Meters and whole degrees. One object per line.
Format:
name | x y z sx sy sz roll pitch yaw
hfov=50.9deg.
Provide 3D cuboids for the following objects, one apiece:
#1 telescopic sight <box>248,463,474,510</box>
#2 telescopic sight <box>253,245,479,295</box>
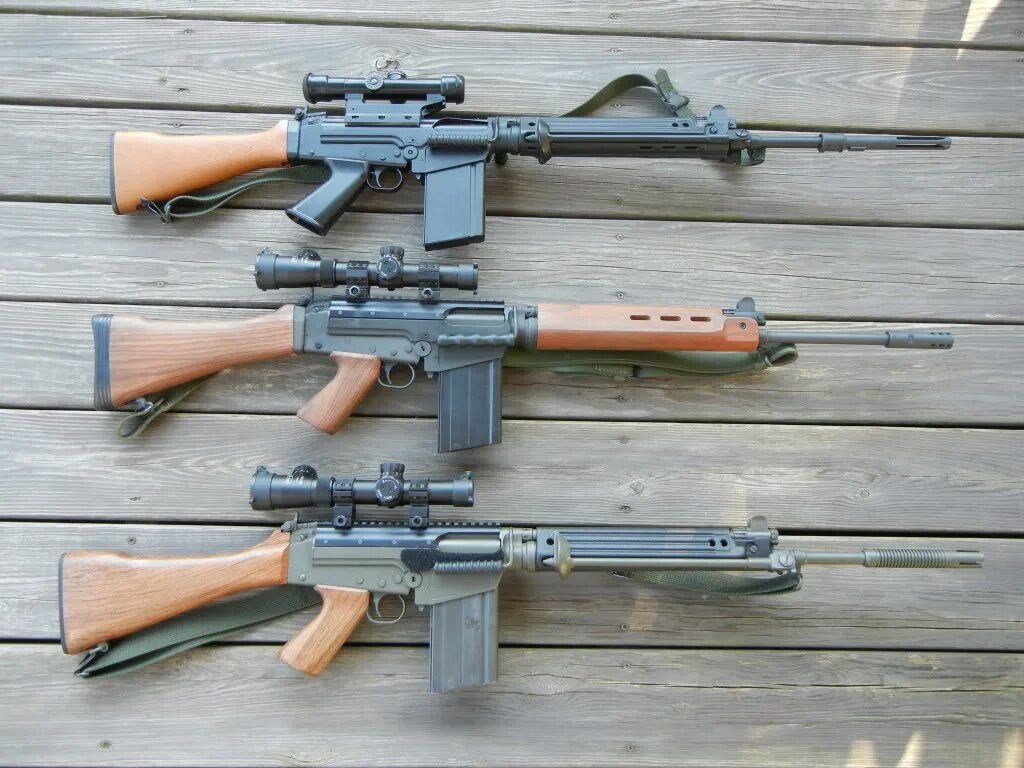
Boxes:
telescopic sight | -0.712 0.377 3.974 1.144 0.218 0.152 0 -99 2
telescopic sight | -0.372 -0.423 4.116 1.161 0.226 0.213 0 -92 1
